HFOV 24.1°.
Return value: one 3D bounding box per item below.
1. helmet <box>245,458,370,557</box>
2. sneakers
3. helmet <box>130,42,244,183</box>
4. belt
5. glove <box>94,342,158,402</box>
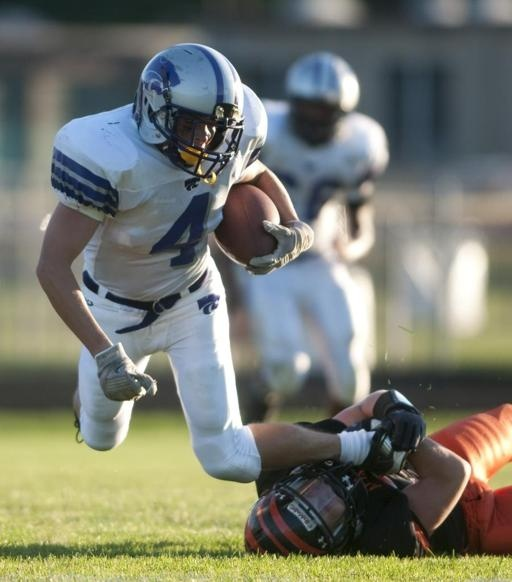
[{"bbox_3d":[0.127,0.616,3.303,0.296,0.208,0.223,-38,-12,-3],"label":"helmet"},{"bbox_3d":[0.368,0.469,3.473,0.195,0.129,0.159,11,-8,31],"label":"sneakers"},{"bbox_3d":[-0.191,-0.507,3.373,0.303,0.391,0.211,1,7,-8],"label":"helmet"},{"bbox_3d":[-0.337,0.049,3.662,0.254,0.077,0.216,-13,32,-11],"label":"belt"},{"bbox_3d":[-0.338,0.222,3.252,0.139,0.163,0.084,-37,-14,31],"label":"glove"}]
